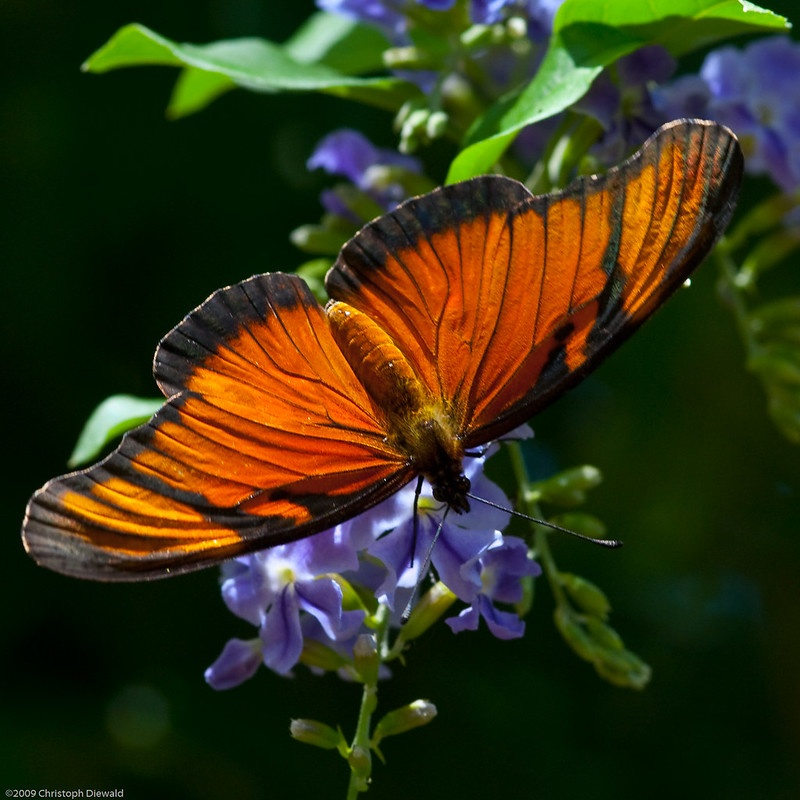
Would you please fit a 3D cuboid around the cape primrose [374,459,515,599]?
[{"bbox_3d":[0.062,0.176,1.164,0.156,0.154,0.200,-6,24,11],"label":"cape primrose"}]

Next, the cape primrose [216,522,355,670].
[{"bbox_3d":[-0.118,0.226,1.197,0.171,0.156,0.076,-26,-19,-7],"label":"cape primrose"}]
